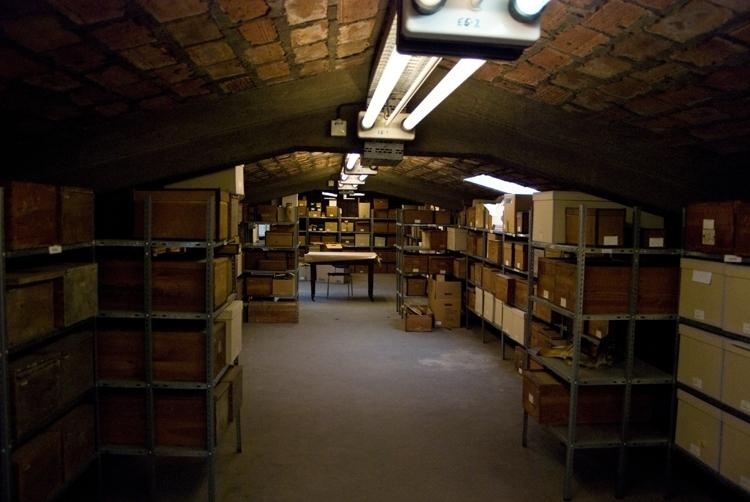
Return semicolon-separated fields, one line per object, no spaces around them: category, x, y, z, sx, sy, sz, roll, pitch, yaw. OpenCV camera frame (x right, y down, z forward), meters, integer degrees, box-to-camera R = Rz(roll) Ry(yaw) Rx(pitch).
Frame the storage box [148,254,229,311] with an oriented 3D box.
storage box;-1.370;0.222;4.171;0.444;0.373;0.518;1;12;0

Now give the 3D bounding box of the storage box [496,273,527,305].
storage box;1.619;0.458;6.602;0.327;0.304;0.522;0;5;-9

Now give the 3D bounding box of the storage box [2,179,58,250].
storage box;-2.114;-0.214;3.382;0.306;0.419;0.486;0;1;-1

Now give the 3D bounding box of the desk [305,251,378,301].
desk;-0.690;0.386;10.902;1.335;0.985;1.639;0;12;-5

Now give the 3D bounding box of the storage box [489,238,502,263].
storage box;1.575;-0.020;7.224;0.133;0.280;0.331;1;4;-5

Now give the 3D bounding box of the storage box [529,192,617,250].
storage box;1.747;-0.197;4.603;0.556;0.354;0.532;1;-3;29

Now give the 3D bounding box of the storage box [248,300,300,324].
storage box;-1.583;0.926;8.449;0.799;0.290;0.255;0;12;-3

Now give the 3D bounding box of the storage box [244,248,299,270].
storage box;-1.653;0.111;8.778;0.820;0.343;0.437;0;12;-4

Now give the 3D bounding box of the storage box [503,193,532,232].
storage box;1.637;-0.446;6.343;0.315;0.460;0.534;0;4;-2

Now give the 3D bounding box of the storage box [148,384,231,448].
storage box;-1.361;1.197;4.172;0.456;0.368;0.412;2;12;2

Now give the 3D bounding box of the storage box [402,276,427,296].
storage box;0.653;0.563;9.155;0.353;0.214;0.324;0;3;7

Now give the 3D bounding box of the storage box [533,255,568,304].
storage box;1.463;0.225;4.582;0.327;0.318;0.548;0;3;-1

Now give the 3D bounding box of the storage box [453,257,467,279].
storage box;1.302;0.262;8.527;0.286;0.295;0.448;-1;4;-2

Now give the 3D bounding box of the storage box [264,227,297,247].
storage box;-1.475;-0.231;8.692;0.381;0.192;0.353;0;3;-1

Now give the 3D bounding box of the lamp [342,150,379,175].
lamp;-0.255;-1.168;7.639;0.580;0.112;0.504;0;-2;-10

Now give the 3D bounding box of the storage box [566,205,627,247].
storage box;1.766;-0.189;4.495;0.414;0.210;0.377;0;0;4

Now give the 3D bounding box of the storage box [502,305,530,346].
storage box;1.600;0.831;6.399;0.373;0.361;0.631;0;2;-5

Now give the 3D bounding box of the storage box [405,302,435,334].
storage box;0.665;0.989;8.227;0.470;0.216;0.730;0;3;4

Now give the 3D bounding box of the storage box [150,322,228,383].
storage box;-1.367;0.721;4.034;0.455;0.240;0.421;0;2;-9

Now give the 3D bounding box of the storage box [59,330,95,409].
storage box;-2.061;0.799;3.796;0.142;0.409;0.400;0;12;-6

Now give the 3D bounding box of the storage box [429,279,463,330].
storage box;1.057;0.798;8.283;0.443;0.652;0.743;0;5;-4

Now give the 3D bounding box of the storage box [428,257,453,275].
storage box;1.022;0.218;8.631;0.319;0.162;0.294;0;1;1

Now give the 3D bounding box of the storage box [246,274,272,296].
storage box;-1.804;0.540;8.608;0.544;0.298;0.281;0;-1;-4

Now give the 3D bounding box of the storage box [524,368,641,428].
storage box;1.654;1.136;4.323;0.667;0.238;0.429;0;0;0

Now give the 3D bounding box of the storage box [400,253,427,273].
storage box;0.630;0.189;8.992;0.363;0.189;0.335;0;3;1

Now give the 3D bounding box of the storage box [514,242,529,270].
storage box;1.685;0.052;6.387;0.208;0.291;0.343;-1;2;-4

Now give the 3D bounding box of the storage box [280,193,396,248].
storage box;-0.774;-0.842;15.316;2.595;1.553;1.727;1;12;-2

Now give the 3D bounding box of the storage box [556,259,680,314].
storage box;1.851;0.278;4.261;0.883;0.365;0.360;4;12;12
